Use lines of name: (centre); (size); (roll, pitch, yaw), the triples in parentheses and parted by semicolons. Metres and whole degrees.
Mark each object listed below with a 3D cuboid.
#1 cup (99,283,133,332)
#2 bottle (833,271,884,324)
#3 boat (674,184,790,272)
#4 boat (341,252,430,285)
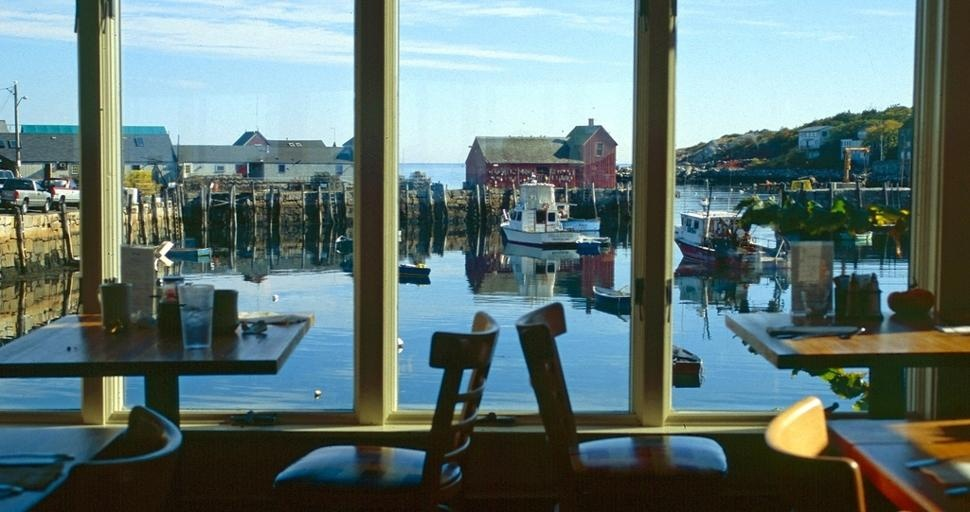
cup: (-1.804, 0.261, 5.137); (0.198, 0.248, 0.197); (-1, -1, 0)
bottle: (1.876, 0.210, 5.214); (0.262, 0.263, 0.250); (-1, 0, -7)
boat: (1.283, -0.096, 5.598); (0.291, 0.390, 0.771); (-2, 1, -15)
boat: (-0.587, 0.054, 5.647); (0.537, 0.120, 0.171); (6, 8, 5)
